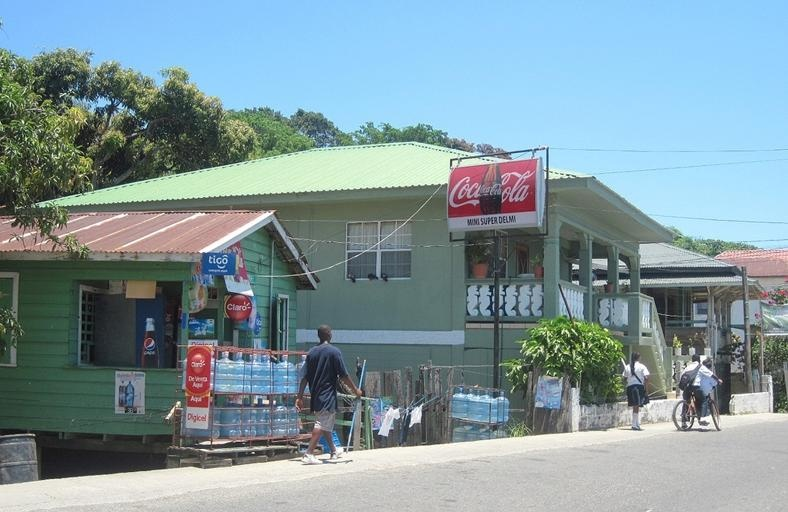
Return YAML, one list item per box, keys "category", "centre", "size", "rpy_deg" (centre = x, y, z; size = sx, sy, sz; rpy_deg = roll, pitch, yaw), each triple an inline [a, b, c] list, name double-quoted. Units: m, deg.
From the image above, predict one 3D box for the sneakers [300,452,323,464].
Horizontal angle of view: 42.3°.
- category: "sneakers"
  centre: [-1.754, 4.339, 21.745]
  size: [0.464, 0.236, 0.194]
  rpy_deg: [3, -3, -5]

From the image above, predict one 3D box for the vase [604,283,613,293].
- category: "vase"
  centre: [7.411, 1.168, 35.389]
  size: [0.302, 0.268, 0.297]
  rpy_deg: [2, -7, 8]

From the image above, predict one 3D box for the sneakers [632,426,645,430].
- category: "sneakers"
  centre: [6.828, 4.844, 28.551]
  size: [0.303, 0.137, 0.104]
  rpy_deg: [5, -1, -29]

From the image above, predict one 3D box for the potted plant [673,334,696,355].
- category: "potted plant"
  centre: [11.760, 3.645, 41.365]
  size: [0.877, 0.751, 0.958]
  rpy_deg: [4, -6, -40]

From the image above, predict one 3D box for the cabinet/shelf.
- category: "cabinet/shelf"
  centre: [-3.478, 3.190, 23.121]
  size: [2.687, 2.231, 0.961]
  rpy_deg: [2, -10, -25]

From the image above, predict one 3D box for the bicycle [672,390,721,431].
- category: "bicycle"
  centre: [8.592, 4.506, 29.358]
  size: [1.862, 1.251, 0.922]
  rpy_deg: [-1, -1, -39]

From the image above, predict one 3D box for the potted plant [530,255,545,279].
- category: "potted plant"
  centre: [4.584, 0.410, 32.752]
  size: [0.538, 0.811, 0.453]
  rpy_deg: [2, -15, -2]

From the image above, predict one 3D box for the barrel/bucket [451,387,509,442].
- category: "barrel/bucket"
  centre: [2.249, 4.230, 27.238]
  size: [1.521, 1.394, 1.093]
  rpy_deg: [-3, -9, 3]

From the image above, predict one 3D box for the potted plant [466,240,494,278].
- category: "potted plant"
  centre: [2.625, 0.062, 31.326]
  size: [0.861, 1.361, 0.939]
  rpy_deg: [1, 2, 17]
